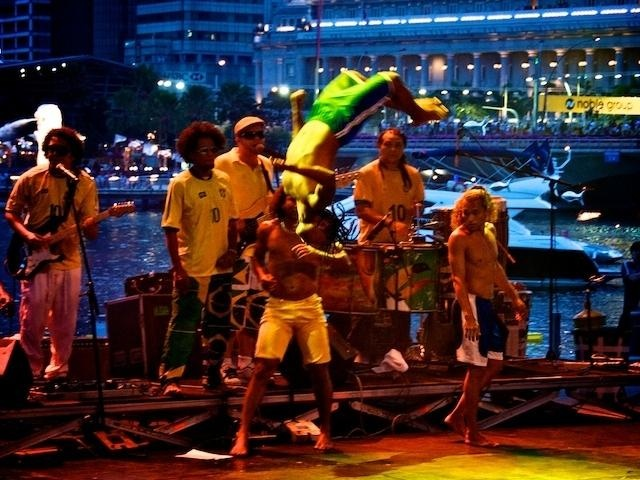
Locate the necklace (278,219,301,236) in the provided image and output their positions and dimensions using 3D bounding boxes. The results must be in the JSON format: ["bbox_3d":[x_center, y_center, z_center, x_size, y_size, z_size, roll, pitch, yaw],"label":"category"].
[{"bbox_3d":[-0.209,-0.100,5.731,0.158,0.119,0.036,-2,22,37],"label":"necklace"}]

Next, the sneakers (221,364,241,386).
[{"bbox_3d":[-0.773,1.172,6.888,0.244,0.073,0.339,-3,6,-2],"label":"sneakers"}]

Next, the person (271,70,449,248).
[{"bbox_3d":[0.175,-0.535,4.785,0.385,1.012,0.993,4,3,38],"label":"person"}]

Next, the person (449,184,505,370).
[{"bbox_3d":[1.284,0.397,6.284,0.557,1.613,0.540,2,3,10],"label":"person"}]

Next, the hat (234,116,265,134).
[{"bbox_3d":[-0.631,-1.020,7.068,0.258,0.179,0.333,1,2,-6],"label":"hat"}]

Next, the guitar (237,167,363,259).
[{"bbox_3d":[-0.072,-0.168,4.863,0.651,0.214,0.705,-10,-8,6],"label":"guitar"}]

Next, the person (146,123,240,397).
[{"bbox_3d":[-0.960,0.137,6.254,0.318,2.129,0.688,5,4,44],"label":"person"}]

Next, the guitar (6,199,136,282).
[{"bbox_3d":[-1.929,-0.008,6.182,1.109,0.573,0.606,3,3,44],"label":"guitar"}]
